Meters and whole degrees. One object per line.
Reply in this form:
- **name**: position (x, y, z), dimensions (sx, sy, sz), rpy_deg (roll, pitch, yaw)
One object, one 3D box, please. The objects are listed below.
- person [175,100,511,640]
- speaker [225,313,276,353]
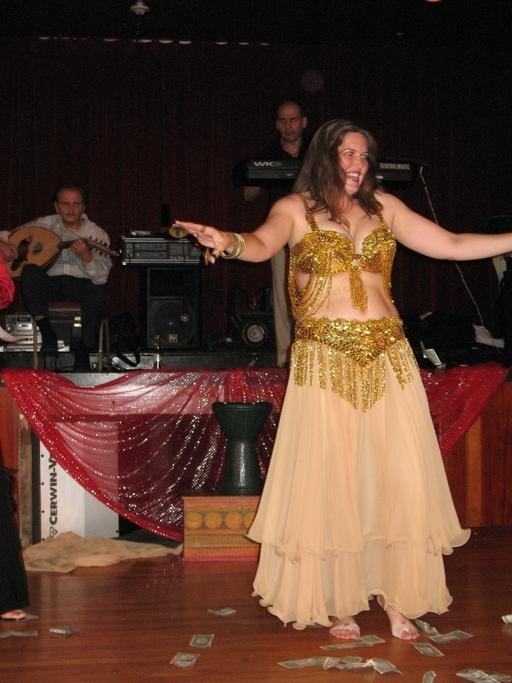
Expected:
- **person**: position (0.292, 0.121, 2.194), dimensions (0.837, 1.689, 0.446), rpy_deg (-2, 3, -4)
- **speaker**: position (-0.022, -0.066, 5.496), dimensions (0.395, 0.311, 0.118), rpy_deg (-1, 1, 1)
